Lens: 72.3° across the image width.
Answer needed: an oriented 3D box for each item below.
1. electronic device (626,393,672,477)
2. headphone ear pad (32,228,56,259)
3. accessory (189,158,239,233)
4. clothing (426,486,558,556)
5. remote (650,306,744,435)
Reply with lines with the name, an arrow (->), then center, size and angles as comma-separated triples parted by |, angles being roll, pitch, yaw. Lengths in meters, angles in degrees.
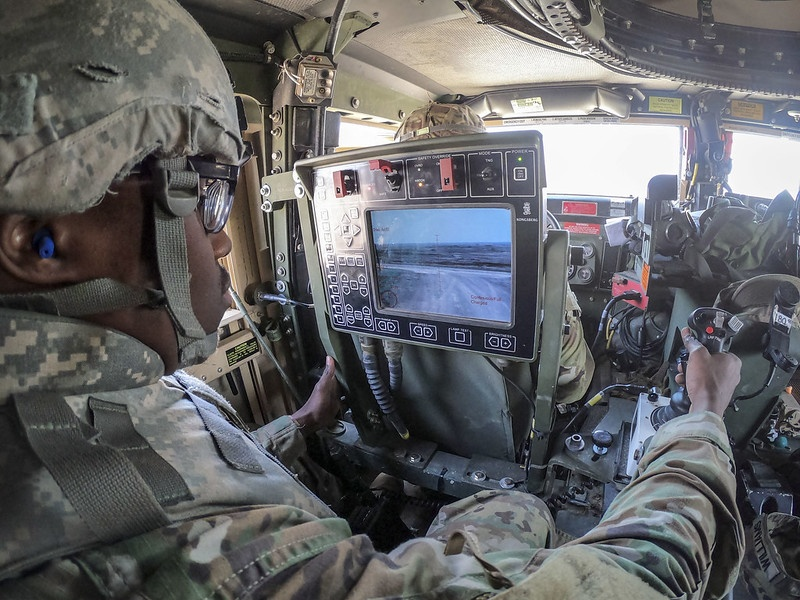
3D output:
electronic device -> 0.861, 0.465, 1.888 | 0.125, 0.165, 0.247 | 11, 45, 13
headphone ear pad -> -0.676, -0.108, 1.040 | 0.035, 0.057, 0.013 | -10, 15, -35
accessory -> -0.449, -0.254, 1.334 | 0.055, 0.162, 0.118 | 13, 10, 44
clothing -> 0.303, 0.638, 1.545 | 0.251, 0.127, 0.348 | -5, 1, 7
remote -> 1.053, 0.229, 1.933 | 0.428, 0.458, 0.162 | 2, -12, 16
